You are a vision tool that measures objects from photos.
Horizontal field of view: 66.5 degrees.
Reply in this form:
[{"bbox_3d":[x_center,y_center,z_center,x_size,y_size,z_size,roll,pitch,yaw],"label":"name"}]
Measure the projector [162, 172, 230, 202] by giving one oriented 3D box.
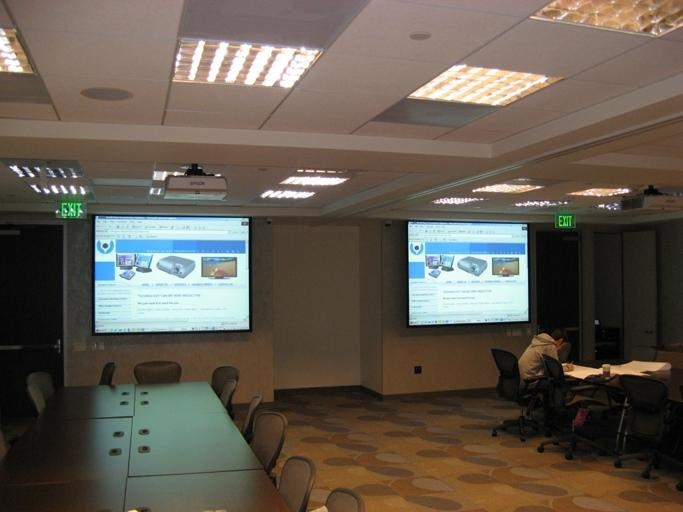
[{"bbox_3d":[-1.412,-0.681,5.090,0.583,0.209,0.270,0,-1,-6],"label":"projector"}]
